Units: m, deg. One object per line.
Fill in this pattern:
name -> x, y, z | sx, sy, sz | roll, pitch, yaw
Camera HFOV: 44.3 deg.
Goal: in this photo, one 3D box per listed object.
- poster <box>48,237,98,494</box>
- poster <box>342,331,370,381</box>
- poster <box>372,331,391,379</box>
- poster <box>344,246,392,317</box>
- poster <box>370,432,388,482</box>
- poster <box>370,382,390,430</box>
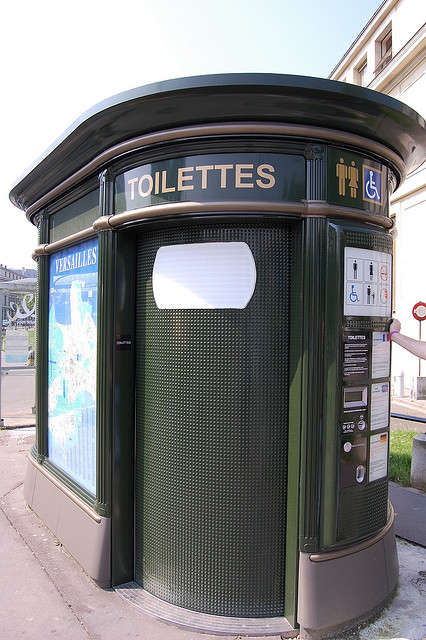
poster -> -1.200, 0.414, 4.532 | 0.034, 2.445, 1.957 | 1, 2, -23
poster -> 0.881, 0.221, 3.275 | 0.259, 0.403, 0.034 | 2, -2, -43
poster -> 1.112, 0.226, 3.497 | 0.039, 0.368, 0.269 | 0, -2, 39
poster -> 0.993, -0.256, 3.396 | 0.609, 0.545, 0.071 | 2, -2, -35
poster -> 1.086, 0.899, 3.466 | 0.023, 0.403, 0.300 | -1, -4, 39
poster -> 1.092, 0.576, 3.483 | 0.011, 0.337, 0.285 | 0, 0, 39
